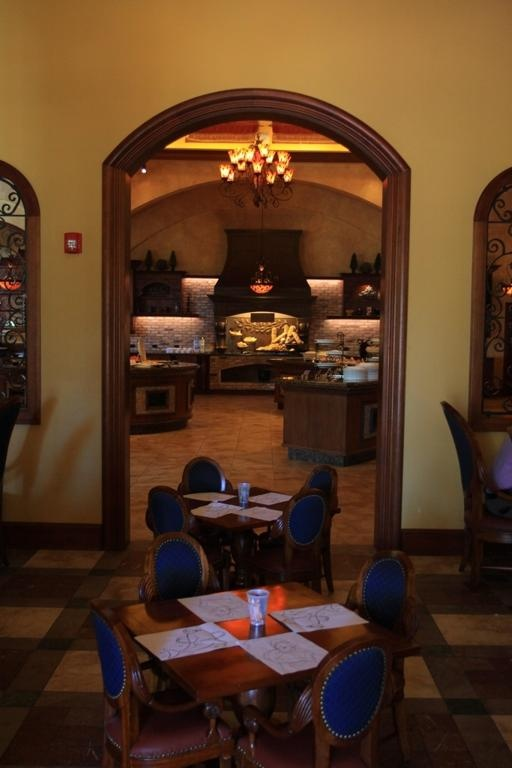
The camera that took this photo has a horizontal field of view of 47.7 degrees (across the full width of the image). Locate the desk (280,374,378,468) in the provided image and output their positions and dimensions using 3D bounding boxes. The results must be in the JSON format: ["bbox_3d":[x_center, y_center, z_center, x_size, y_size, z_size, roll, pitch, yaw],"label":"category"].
[{"bbox_3d":[1.135,0.506,7.935,1.538,1.068,1.498,0,3,-5],"label":"desk"}]

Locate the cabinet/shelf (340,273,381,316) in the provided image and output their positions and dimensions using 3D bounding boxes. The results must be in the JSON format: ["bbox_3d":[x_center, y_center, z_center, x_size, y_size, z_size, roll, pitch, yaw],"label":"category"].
[{"bbox_3d":[2.776,-2.325,15.320,0.937,1.109,0.540,1,-1,7],"label":"cabinet/shelf"}]

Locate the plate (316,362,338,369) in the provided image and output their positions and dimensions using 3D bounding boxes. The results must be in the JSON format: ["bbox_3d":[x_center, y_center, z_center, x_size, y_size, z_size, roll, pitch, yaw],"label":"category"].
[{"bbox_3d":[0.958,-0.264,7.783,0.247,0.086,0.332,1,-1,8],"label":"plate"}]

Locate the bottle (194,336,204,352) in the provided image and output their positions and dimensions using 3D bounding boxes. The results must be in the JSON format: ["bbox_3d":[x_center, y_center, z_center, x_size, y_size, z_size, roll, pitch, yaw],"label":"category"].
[{"bbox_3d":[-1.543,-1.105,15.779,0.330,0.451,0.282,1,-1,-9],"label":"bottle"}]

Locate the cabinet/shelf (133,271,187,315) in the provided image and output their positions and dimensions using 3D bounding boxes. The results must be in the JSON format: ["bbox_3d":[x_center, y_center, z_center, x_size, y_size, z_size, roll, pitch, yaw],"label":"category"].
[{"bbox_3d":[-2.601,-2.423,15.232,1.158,1.060,0.410,0,4,-5],"label":"cabinet/shelf"}]

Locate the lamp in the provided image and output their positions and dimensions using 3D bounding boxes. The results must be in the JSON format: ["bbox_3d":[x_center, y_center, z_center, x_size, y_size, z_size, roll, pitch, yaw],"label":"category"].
[{"bbox_3d":[0.016,-3.469,9.309,1.025,1.242,1.039,1,2,0],"label":"lamp"}]

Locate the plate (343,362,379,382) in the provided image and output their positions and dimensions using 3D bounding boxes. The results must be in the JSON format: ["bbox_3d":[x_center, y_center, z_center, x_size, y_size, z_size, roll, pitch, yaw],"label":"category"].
[{"bbox_3d":[1.375,-0.151,7.546,0.644,0.269,0.359,2,-1,-39],"label":"plate"}]
